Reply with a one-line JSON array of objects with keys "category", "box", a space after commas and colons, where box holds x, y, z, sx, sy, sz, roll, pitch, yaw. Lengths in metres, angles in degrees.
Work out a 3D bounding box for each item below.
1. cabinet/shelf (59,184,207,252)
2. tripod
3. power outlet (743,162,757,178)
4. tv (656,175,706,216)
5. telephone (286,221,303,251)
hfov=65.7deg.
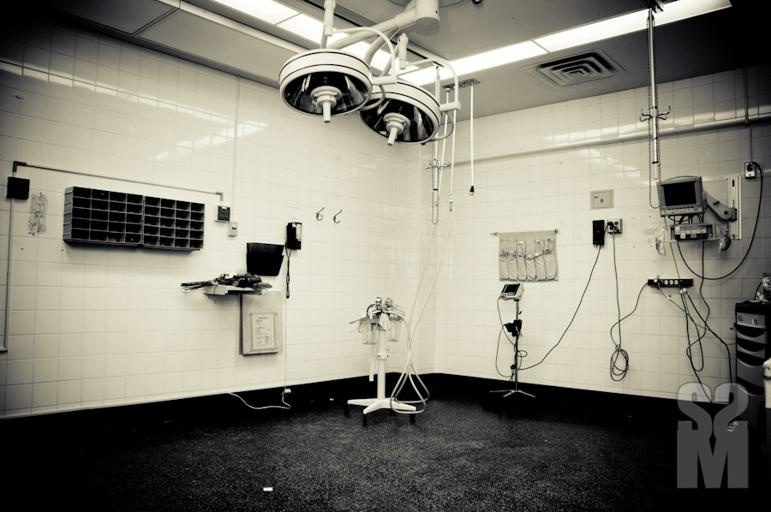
[{"category": "cabinet/shelf", "box": [-2.957, -0.422, 7.236, 1.412, 0.628, 0.293, 6, -6, -33]}, {"category": "tripod", "box": [1.872, 1.335, 8.877, 0.616, 1.426, 0.699, -1, 8, -11]}, {"category": "power outlet", "box": [4.761, -1.115, 7.811, 0.141, 0.225, 0.075, 1, 8, 3]}, {"category": "tv", "box": [3.774, -0.793, 7.664, 0.516, 0.495, 0.292, -5, 18, 31]}, {"category": "telephone", "box": [-1.320, -0.271, 8.578, 0.257, 0.427, 0.155, -2, 8, -20]}]
